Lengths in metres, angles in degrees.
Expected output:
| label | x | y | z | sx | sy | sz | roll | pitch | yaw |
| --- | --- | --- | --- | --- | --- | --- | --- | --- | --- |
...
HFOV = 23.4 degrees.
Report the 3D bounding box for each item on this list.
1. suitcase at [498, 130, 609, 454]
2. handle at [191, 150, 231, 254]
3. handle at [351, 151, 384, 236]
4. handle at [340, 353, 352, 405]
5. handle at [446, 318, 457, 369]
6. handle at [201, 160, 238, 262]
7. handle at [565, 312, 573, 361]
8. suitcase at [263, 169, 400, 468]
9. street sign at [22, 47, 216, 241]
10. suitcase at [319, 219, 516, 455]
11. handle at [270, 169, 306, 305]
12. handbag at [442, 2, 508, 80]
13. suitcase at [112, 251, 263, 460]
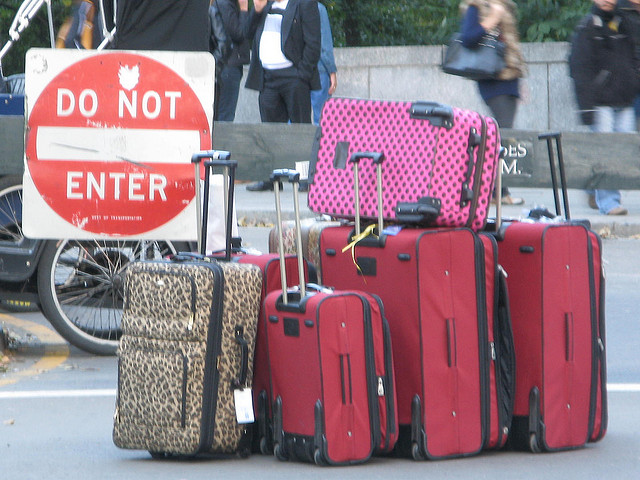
| label | x | y | z | sx | sy | sz | roll | pitch | yaw |
| --- | --- | --- | --- | --- | --- | --- | --- | --- | --- |
| suitcase | 1.266 | 0.526 | 8.447 | 0.605 | 1.235 | 0.387 | 1 | 11 | 6 |
| handle | -0.572 | -0.179 | 8.665 | 0.219 | 0.573 | 0.189 | 4 | -12 | 6 |
| handle | 0.246 | -0.217 | 8.333 | 0.147 | 0.528 | 0.110 | -1 | -28 | -1 |
| handle | 0.122 | 0.745 | 8.066 | 0.029 | 0.235 | 0.042 | -5 | 0 | -16 |
| handle | 0.696 | 0.553 | 8.226 | 0.059 | 0.268 | 0.036 | -3 | 11 | -15 |
| handle | -0.579 | -0.156 | 8.677 | 0.192 | 0.076 | 0.786 | 0 | 46 | 2 |
| handle | 1.347 | 0.529 | 8.396 | 0.043 | 0.262 | 0.044 | -1 | 10 | -5 |
| suitcase | 0.049 | 0.430 | 8.227 | 0.726 | 1.516 | 0.578 | 0 | 11 | 2 |
| street sign | -1.274 | -0.614 | 9.517 | 0.903 | 1.142 | 0.106 | 1 | 5 | -1 |
| suitcase | 0.513 | 0.556 | 8.207 | 0.393 | 1.123 | 0.973 | -5 | 7 | -35 |
| handle | -0.195 | -0.011 | 8.424 | 0.080 | 0.724 | 0.147 | -10 | -3 | 18 |
| handbag | 1.173 | -1.447 | 11.787 | 0.491 | 0.448 | 0.274 | 1 | 11 | 8 |
| suitcase | -0.696 | 0.652 | 8.204 | 0.784 | 1.305 | 0.569 | 3 | -1 | 37 |
